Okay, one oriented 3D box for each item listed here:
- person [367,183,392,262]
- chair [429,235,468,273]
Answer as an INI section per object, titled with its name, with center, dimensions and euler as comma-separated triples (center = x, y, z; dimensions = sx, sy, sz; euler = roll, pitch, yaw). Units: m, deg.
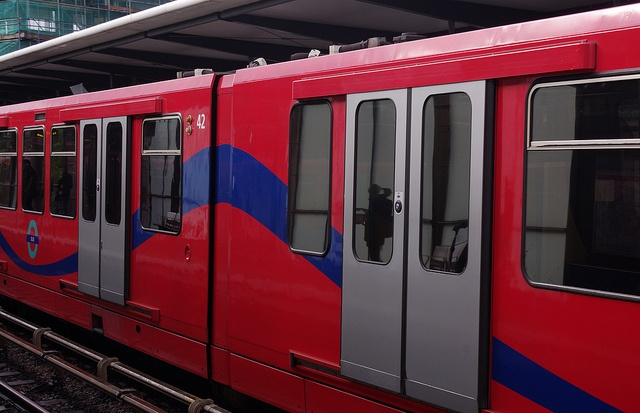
[person]
center = 0.622, 0.180, 5.690
dimensions = 0.314, 0.803, 0.091
euler = 9, 10, 44
[chair]
center = 1.289, 0.503, 5.341
dimensions = 0.241, 0.310, 0.308
euler = 21, -17, -32
